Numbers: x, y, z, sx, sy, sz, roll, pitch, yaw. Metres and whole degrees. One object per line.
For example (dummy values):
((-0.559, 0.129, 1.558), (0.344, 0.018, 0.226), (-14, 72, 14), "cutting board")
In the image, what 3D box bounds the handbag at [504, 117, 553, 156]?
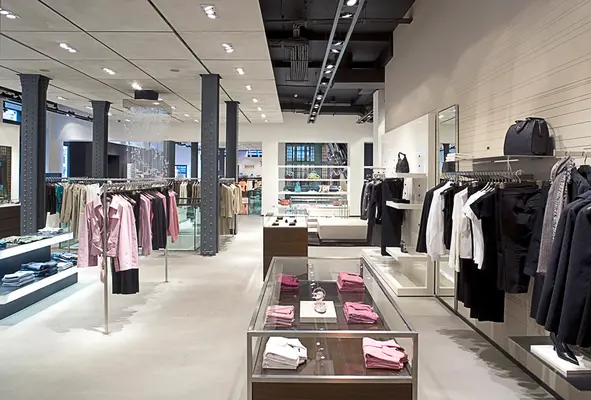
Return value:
((2.495, -0.675, 4.146), (0.243, 0.381, 0.433), (0, 3, -4), "handbag")

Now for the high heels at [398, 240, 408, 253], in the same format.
((1.949, 0.840, 6.871), (0.133, 0.129, 0.584), (2, 8, 11), "high heels")

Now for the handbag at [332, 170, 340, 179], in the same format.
((1.607, -1.039, 15.070), (0.323, 0.345, 0.329), (-3, 8, -23), "handbag")

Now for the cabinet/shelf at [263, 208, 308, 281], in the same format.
((-0.107, 0.887, 7.131), (0.963, 1.153, 1.752), (0, 0, 3), "cabinet/shelf")

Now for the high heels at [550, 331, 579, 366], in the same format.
((2.439, 1.332, 3.476), (0.169, 0.158, 0.328), (3, 8, 21), "high heels")

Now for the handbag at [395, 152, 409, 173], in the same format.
((2.031, -0.739, 7.331), (0.205, 0.368, 0.513), (1, 8, 7), "handbag")

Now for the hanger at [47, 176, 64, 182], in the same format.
((-6.374, -0.541, 10.223), (0.418, 0.112, 0.692), (-5, 9, -33), "hanger")

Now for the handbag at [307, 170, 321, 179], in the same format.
((0.717, -1.010, 14.944), (0.433, 0.185, 0.573), (0, 0, -1), "handbag")

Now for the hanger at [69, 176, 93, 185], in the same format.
((-5.687, -0.519, 10.181), (0.594, 0.154, 0.609), (0, 4, -3), "hanger")

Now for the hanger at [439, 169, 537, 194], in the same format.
((2.398, -0.298, 4.887), (0.560, 0.225, 1.432), (0, 8, -2), "hanger")

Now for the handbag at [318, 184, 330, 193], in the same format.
((1.088, -0.428, 14.342), (0.330, 0.097, 0.319), (-1, 30, 19), "handbag")
